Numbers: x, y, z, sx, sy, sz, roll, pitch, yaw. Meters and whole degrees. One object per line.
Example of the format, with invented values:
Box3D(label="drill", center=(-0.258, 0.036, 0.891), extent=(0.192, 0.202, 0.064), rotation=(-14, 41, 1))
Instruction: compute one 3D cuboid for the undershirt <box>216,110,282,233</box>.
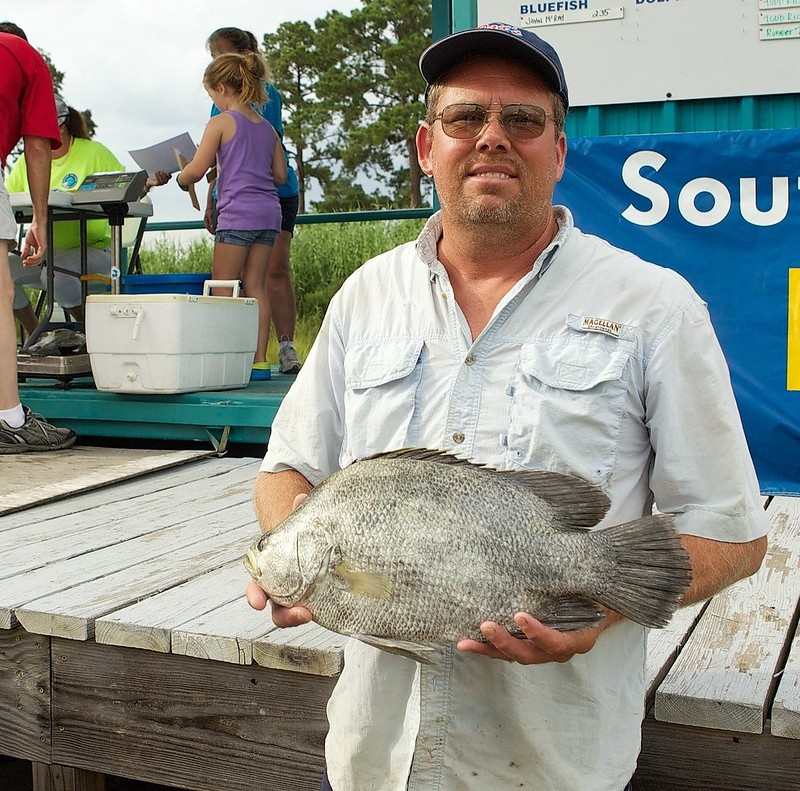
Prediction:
Box3D(label="undershirt", center=(-0.918, -1.339, 6.287), extent=(0.357, 0.710, 0.351), rotation=(-9, 22, -37))

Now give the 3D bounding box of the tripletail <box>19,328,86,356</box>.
Box3D(label="tripletail", center=(-2.041, -0.322, 6.232), extent=(0.179, 0.098, 0.265), rotation=(-1, -2, 23))

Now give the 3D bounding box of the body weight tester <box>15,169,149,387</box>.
Box3D(label="body weight tester", center=(-1.986, -0.647, 6.458), extent=(0.725, 1.477, 0.753), rotation=(5, 20, 0))

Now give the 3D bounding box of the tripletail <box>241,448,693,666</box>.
Box3D(label="tripletail", center=(0.104, 0.293, 1.846), extent=(0.782, 0.376, 0.167), rotation=(1, -7, 16))
